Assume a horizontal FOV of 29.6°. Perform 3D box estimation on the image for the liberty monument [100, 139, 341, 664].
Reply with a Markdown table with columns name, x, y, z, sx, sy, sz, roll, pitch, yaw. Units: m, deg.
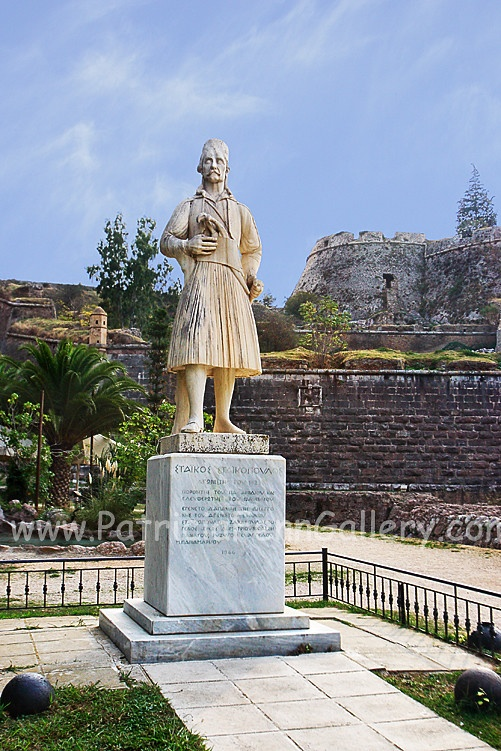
| name | x | y | z | sx | sy | sz | roll | pitch | yaw |
| --- | --- | --- | --- | --- | --- | --- | --- | --- | --- |
| liberty monument | -0.292 | 0.021 | 7.182 | 1.345 | 3.957 | 1.166 | 1 | -5 | -8 |
